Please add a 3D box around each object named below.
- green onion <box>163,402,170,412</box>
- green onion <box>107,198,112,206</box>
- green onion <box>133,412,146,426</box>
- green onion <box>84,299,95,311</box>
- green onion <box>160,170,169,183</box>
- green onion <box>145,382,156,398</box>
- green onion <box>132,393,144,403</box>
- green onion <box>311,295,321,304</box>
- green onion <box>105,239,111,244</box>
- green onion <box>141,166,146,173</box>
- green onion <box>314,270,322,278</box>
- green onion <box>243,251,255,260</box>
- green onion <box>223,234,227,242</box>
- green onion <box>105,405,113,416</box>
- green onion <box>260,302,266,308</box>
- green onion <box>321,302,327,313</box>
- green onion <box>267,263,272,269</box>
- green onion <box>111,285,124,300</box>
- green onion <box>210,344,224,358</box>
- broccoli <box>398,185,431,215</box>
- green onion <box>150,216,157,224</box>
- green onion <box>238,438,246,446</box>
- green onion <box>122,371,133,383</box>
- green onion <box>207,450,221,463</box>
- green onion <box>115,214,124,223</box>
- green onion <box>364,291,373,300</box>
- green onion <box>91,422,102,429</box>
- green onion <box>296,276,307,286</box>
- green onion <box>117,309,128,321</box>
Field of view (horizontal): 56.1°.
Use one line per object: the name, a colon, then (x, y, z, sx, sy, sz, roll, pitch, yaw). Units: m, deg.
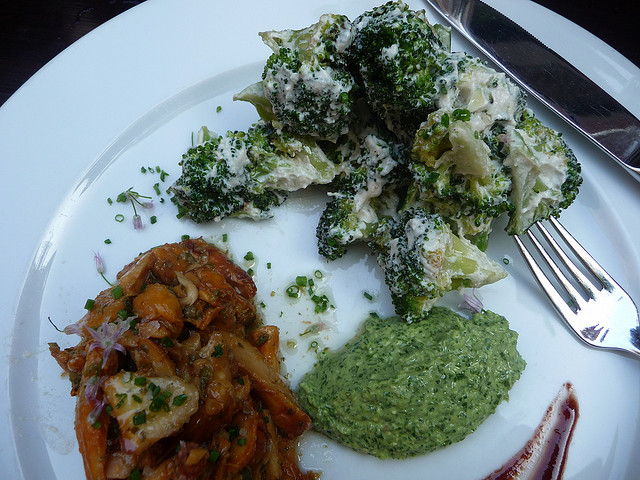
green onion: (-0.887, 0.977, 3.491, 0.036, 0.007, 0.055, -11, 76, 3)
green onion: (-1.507, -0.283, 4.308, 0.020, 0.009, 0.042, -11, 85, -2)
green onion: (-1.031, 1.037, 3.455, 0.053, 0.014, 0.061, -6, 72, -9)
green onion: (-1.489, 0.409, 3.890, 0.058, 0.066, 0.076, 3, 58, 6)
green onion: (-1.126, -0.469, 4.355, 0.043, 0.027, 0.066, 33, 82, 12)
green onion: (-0.984, 0.885, 3.509, 0.055, 0.018, 0.064, 16, 79, 11)
green onion: (-1.051, 0.923, 3.487, 0.060, 0.018, 0.078, -1, 66, -6)
green onion: (-0.023, 0.423, 4.246, 0.055, 0.016, 0.052, 11, 82, 15)
green onion: (-1.500, 0.009, 4.273, 0.037, 0.016, 0.033, 2, 76, 6)
green onion: (-1.267, -0.519, 4.352, 0.022, 0.057, 0.035, 3, 82, -4)
green onion: (-0.004, 0.242, 4.284, 0.048, 0.012, 0.050, -2, 76, 5)
green onion: (-0.497, 0.119, 4.313, 0.059, 0.024, 0.065, 41, 83, 13)
green onion: (-0.679, -0.017, 4.336, 0.036, 0.011, 0.041, -2, 81, -4)
green onion: (-1.227, 0.997, 3.500, 0.036, 0.015, 0.045, -8, 87, 7)
green onion: (-0.399, 0.458, 4.264, 0.029, 0.006, 0.041, -44, 76, -6)
green onion: (0.036, 0.476, 4.233, 0.031, 0.025, 0.064, 15, 78, 9)
green onion: (-0.359, 0.183, 4.305, 0.029, 0.008, 0.034, 1, 81, 3)
green onion: (-1.267, 0.330, 3.777, 0.086, 0.039, 0.076, -28, 75, -2)
green onion: (-0.625, 0.690, 3.716, 0.056, 0.027, 0.071, 1, 74, -13)
broccoli: (0.675, -0.301, 4.071, 0.262, 0.071, 0.063, -39, 112, 5)
green onion: (-1.185, -0.149, 4.315, 0.039, 0.024, 0.053, -10, 75, 3)
green onion: (-0.470, 1.240, 3.668, 0.048, 0.011, 0.036, 5, 77, 7)
green onion: (-1.125, 0.811, 3.533, 0.047, 0.014, 0.056, 7, 63, -3)
green onion: (-0.626, 1.303, 3.597, 0.057, 0.028, 0.066, 27, 80, 11)
green onion: (-1.428, -0.161, 4.307, 0.061, 0.018, 0.055, -2, 76, 5)
green onion: (0.347, 0.399, 4.265, 0.049, 0.016, 0.030, 39, 92, 9)
green onion: (-1.280, 1.078, 3.476, 0.034, 0.036, 0.029, -22, 59, 21)
green onion: (-0.124, 0.291, 4.253, 0.076, 0.037, 0.063, -4, 76, 5)
green onion: (-1.215, 0.467, 3.707, 0.053, 0.026, 0.060, -19, 70, -15)
